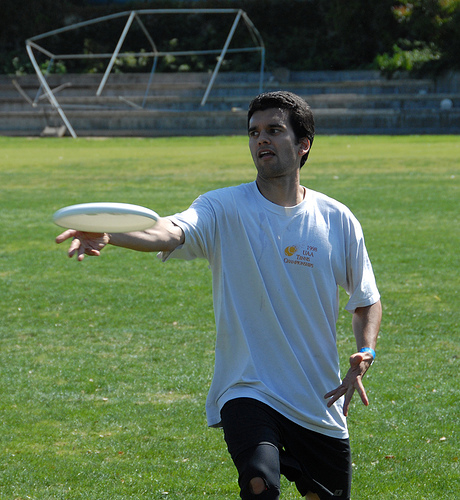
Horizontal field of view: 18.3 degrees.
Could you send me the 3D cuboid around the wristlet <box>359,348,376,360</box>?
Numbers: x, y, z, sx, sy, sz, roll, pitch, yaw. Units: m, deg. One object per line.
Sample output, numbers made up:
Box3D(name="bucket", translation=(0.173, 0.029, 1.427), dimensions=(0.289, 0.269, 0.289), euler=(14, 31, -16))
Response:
Box3D(name="wristlet", translation=(1.071, 0.770, 10.826), dimensions=(0.162, 0.073, 0.090), euler=(1, 4, -36))
